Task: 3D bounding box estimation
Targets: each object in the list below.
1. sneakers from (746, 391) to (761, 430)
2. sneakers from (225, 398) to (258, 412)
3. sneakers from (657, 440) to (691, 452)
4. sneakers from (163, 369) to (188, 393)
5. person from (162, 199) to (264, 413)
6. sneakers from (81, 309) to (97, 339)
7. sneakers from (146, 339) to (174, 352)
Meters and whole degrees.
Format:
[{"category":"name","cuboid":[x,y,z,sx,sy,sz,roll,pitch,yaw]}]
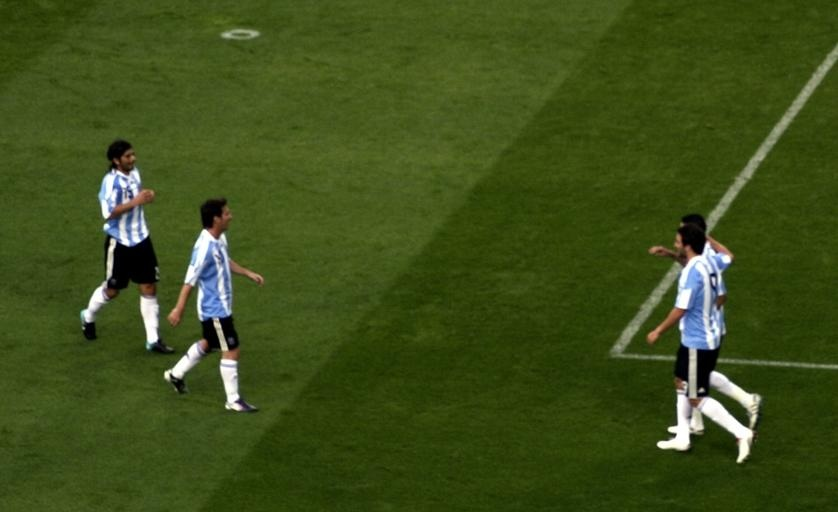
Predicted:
[{"category":"sneakers","cuboid":[3.753,1.674,15.941,0.120,0.400,0.118,11,-5,-9]},{"category":"sneakers","cuboid":[-2.062,1.674,16.577,0.325,0.109,0.155,1,5,8]},{"category":"sneakers","cuboid":[2.858,2.053,15.939,0.328,0.104,0.151,-1,-1,17]},{"category":"sneakers","cuboid":[-2.868,1.434,16.766,0.197,0.337,0.142,-9,7,-6]},{"category":"person","cuboid":[-2.424,0.554,16.351,0.857,2.356,1.005,-6,29,-9]},{"category":"sneakers","cuboid":[-4.063,0.811,17.577,0.165,0.369,0.170,-4,7,-14]},{"category":"sneakers","cuboid":[-3.153,1.057,17.471,0.408,0.146,0.130,2,10,-8]}]
